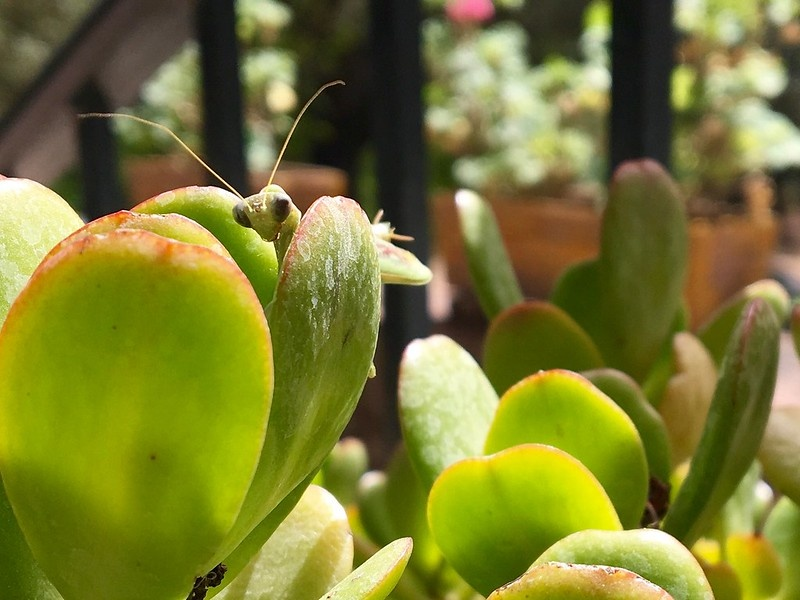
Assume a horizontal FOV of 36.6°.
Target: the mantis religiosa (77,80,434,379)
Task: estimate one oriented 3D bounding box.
[{"bbox_3d":[-0.069,-0.058,0.675,0.133,0.109,0.162,-15,15,-2],"label":"mantis religiosa"}]
